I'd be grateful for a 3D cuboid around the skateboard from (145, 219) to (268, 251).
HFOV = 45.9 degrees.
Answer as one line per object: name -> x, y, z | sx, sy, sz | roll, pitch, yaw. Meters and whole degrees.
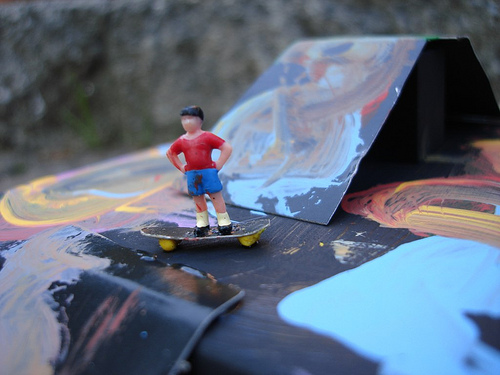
skateboard -> -0.346, 0.342, 4.493 | 0.958, 0.161, 0.328 | -3, 18, 3
